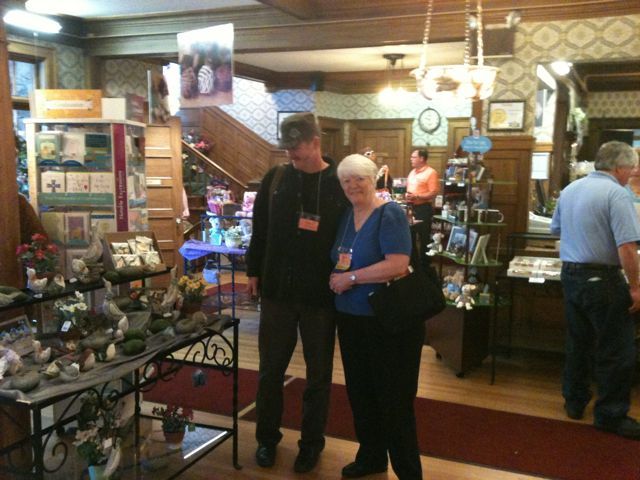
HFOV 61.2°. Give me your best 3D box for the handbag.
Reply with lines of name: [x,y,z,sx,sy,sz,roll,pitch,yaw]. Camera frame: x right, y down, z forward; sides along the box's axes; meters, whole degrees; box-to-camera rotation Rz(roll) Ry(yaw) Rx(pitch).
handbag: [0.512,0.349,3.104,0.429,0.313,0.150,-17,-15,-15]

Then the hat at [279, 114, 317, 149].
hat: [-0.123,-0.690,3.450,0.262,0.130,0.184,-30,30,-31]

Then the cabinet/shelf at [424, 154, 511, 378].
cabinet/shelf: [1.486,0.158,5.562,0.786,2.069,1.641,4,11,17]

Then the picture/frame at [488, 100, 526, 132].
picture/frame: [2.005,-1.331,5.750,0.364,0.292,0.047,3,4,22]

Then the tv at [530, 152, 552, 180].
tv: [2.847,-0.945,6.963,0.146,0.369,1.024,7,12,28]

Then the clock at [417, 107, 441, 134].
clock: [2.522,-2.739,12.450,0.551,0.594,0.107,8,13,32]

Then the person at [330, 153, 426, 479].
person: [0.335,0.543,3.284,0.339,2.082,0.683,-8,14,-40]

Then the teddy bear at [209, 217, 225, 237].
teddy bear: [-1.252,-0.156,6.524,0.096,0.247,0.307,-8,14,-37]

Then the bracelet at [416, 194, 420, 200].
bracelet: [1.423,-0.624,7.825,0.043,0.053,0.016,-9,11,-26]
